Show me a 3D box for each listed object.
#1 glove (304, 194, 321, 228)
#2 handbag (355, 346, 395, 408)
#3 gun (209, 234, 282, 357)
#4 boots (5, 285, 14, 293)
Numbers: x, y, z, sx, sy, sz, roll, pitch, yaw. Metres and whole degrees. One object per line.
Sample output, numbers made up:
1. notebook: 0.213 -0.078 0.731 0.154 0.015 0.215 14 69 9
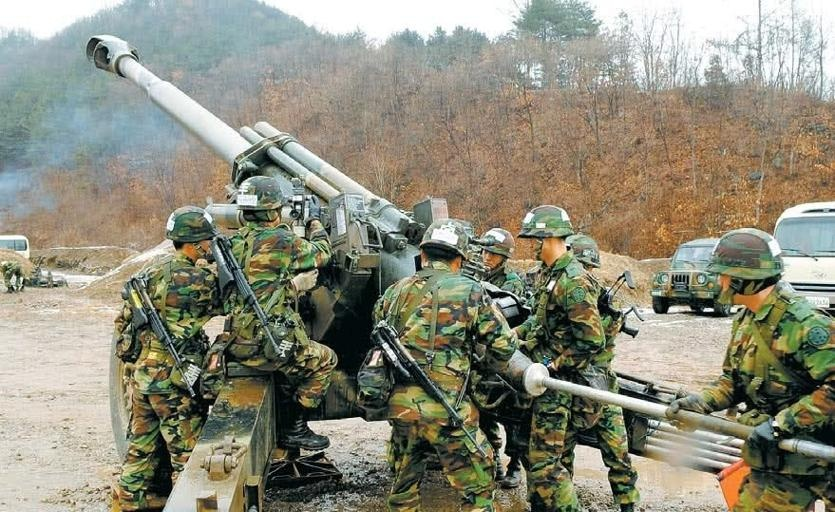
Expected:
1. glove: -2.796 -1.259 25.055 0.426 0.703 0.190 -4 5 -16
2. handbag: -1.067 3.022 23.846 0.790 1.488 0.852 1 0 -33
3. gun: -4.331 0.985 24.284 0.439 3.021 1.092 -22 -9 -34
4. boots: -18.477 1.503 42.920 0.293 0.306 0.321 -17 18 -25
